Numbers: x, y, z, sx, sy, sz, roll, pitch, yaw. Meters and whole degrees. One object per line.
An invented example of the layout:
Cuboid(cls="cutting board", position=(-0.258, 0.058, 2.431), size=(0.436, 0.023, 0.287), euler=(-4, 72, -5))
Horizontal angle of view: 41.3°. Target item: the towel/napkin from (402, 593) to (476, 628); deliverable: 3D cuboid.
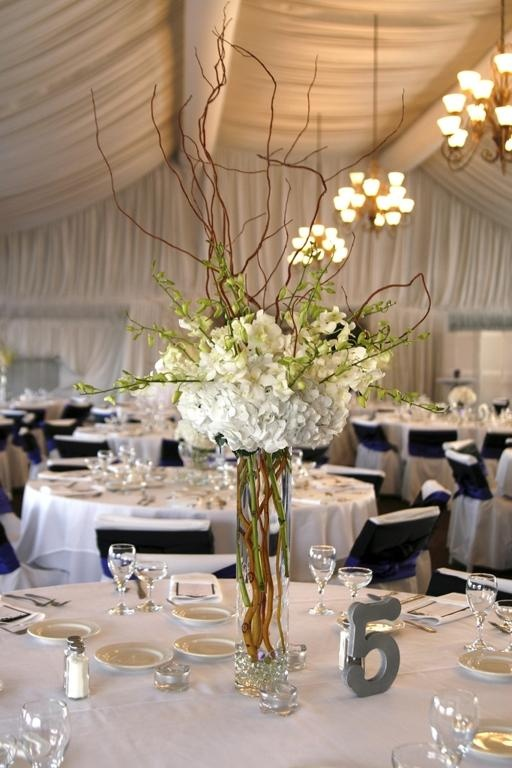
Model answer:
Cuboid(cls="towel/napkin", position=(0.468, 0.588, 1.752), size=(0.139, 0.032, 0.189), euler=(2, 1, 31))

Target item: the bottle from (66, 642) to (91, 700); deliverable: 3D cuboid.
Cuboid(cls="bottle", position=(-0.318, 0.510, 1.211), size=(0.040, 0.099, 0.036), euler=(-1, 3, -14))

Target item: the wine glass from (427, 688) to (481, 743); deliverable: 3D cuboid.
Cuboid(cls="wine glass", position=(0.270, 0.460, 0.940), size=(0.070, 0.076, 0.067), euler=(0, -15, 3))

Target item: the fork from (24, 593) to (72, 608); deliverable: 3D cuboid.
Cuboid(cls="fork", position=(-0.520, 0.544, 1.733), size=(0.129, 0.011, 0.038), euler=(-4, 12, 34))
